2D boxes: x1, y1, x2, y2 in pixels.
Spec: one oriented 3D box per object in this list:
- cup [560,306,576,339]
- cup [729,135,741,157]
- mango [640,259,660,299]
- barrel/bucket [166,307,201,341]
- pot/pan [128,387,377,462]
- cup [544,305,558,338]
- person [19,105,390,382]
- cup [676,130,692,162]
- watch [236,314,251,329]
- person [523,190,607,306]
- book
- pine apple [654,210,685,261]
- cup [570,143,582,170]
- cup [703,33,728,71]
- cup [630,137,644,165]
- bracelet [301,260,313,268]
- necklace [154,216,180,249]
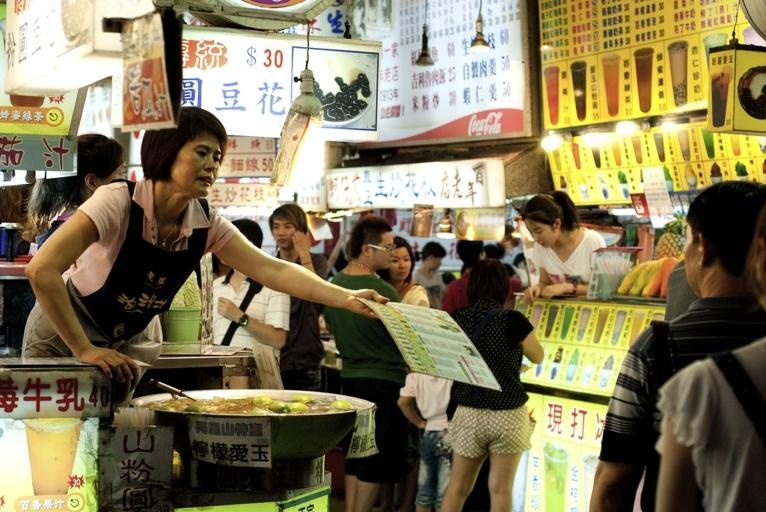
[{"bbox_3d":[1.554,0.559,5.277,0.095,0.250,0.071,1,2,44],"label":"cup"},{"bbox_3d":[3.197,-0.999,5.666,0.084,0.186,0.073,1,2,41],"label":"cup"},{"bbox_3d":[2.129,0.173,4.953,0.105,0.315,0.091,28,-27,-14],"label":"mango"},{"bbox_3d":[-1.195,0.412,3.809,0.233,0.177,0.225,-1,-5,0],"label":"barrel/bucket"},{"bbox_3d":[-0.514,0.708,2.635,0.946,0.239,0.555,0,2,7],"label":"pot/pan"},{"bbox_3d":[1.448,0.554,5.365,0.101,0.261,0.063,1,2,38],"label":"cup"},{"bbox_3d":[-0.937,-0.083,2.703,0.572,1.058,1.103,1,3,42],"label":"person"},{"bbox_3d":[2.832,-1.037,5.878,0.102,0.276,0.116,1,2,32],"label":"cup"},{"bbox_3d":[-1.056,0.501,4.752,0.072,0.107,0.098,26,-11,1],"label":"watch"},{"bbox_3d":[1.681,-0.006,5.692,0.768,1.164,0.726,-5,8,32],"label":"person"},{"bbox_3d":[0.191,0.328,2.467,0.392,0.157,0.544,-7,31,-17],"label":"book"},{"bbox_3d":[2.634,-0.196,5.735,0.224,0.225,0.498,-34,19,43],"label":"pine apple"},{"bbox_3d":[2.002,-1.034,6.471,0.082,0.244,0.120,0,2,19],"label":"cup"},{"bbox_3d":[2.894,-1.829,5.427,0.184,0.230,0.092,1,2,27],"label":"cup"},{"bbox_3d":[2.498,-1.039,6.138,0.092,0.259,0.121,1,2,40],"label":"cup"},{"bbox_3d":[-0.623,0.063,5.183,0.070,0.074,0.071,-1,2,-4],"label":"bracelet"},{"bbox_3d":[-0.907,-0.104,2.643,0.093,0.132,0.132,4,16,-2],"label":"necklace"}]
